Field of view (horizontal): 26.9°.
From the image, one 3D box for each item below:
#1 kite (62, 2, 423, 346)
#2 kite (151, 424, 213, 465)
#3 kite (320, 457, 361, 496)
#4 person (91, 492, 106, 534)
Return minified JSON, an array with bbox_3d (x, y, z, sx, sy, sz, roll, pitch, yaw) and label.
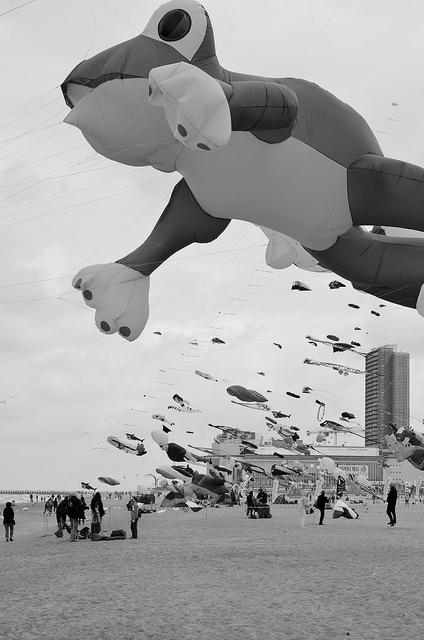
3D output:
[{"bbox_3d":[0.632,-2.359,11.824,5.924,2.463,3.112,17,-34,-15],"label":"kite"},{"bbox_3d":[-0.988,4.302,29.524,2.731,0.998,0.928,22,-15,-33],"label":"kite"},{"bbox_3d":[5.397,6.693,37.498,1.609,1.617,4.039,-1,-6,8],"label":"kite"},{"bbox_3d":[-2.870,4.928,22.458,0.576,1.042,0.525,5,-19,-16],"label":"person"}]
